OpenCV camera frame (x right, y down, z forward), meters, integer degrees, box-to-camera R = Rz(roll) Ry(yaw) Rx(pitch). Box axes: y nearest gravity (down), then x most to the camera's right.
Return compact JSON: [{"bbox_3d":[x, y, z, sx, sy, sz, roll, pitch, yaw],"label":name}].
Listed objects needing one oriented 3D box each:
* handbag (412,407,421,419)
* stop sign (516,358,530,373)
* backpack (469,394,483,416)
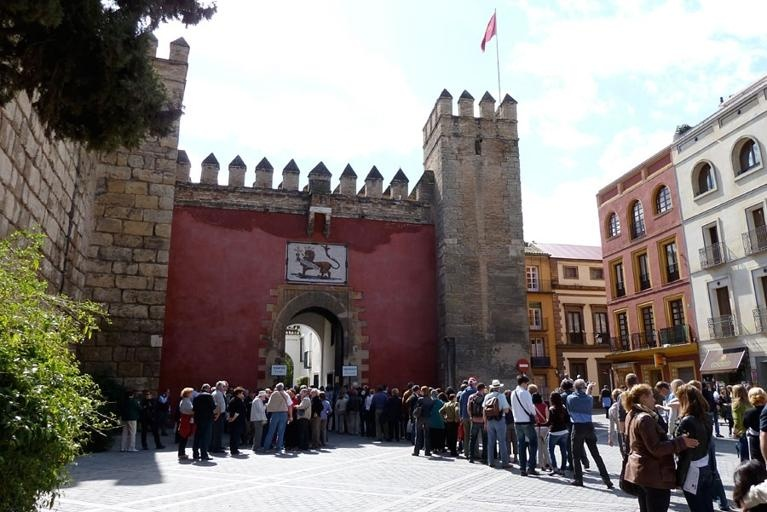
[{"bbox_3d":[0.733,3.577,13.519,0.275,0.289,0.194,-4,-3,12],"label":"handbag"},{"bbox_3d":[4.621,3.637,19.531,0.490,0.490,0.297,6,-10,-33],"label":"stop sign"},{"bbox_3d":[1.933,3.158,12.445,0.360,0.524,0.286,-5,-21,25],"label":"backpack"}]
